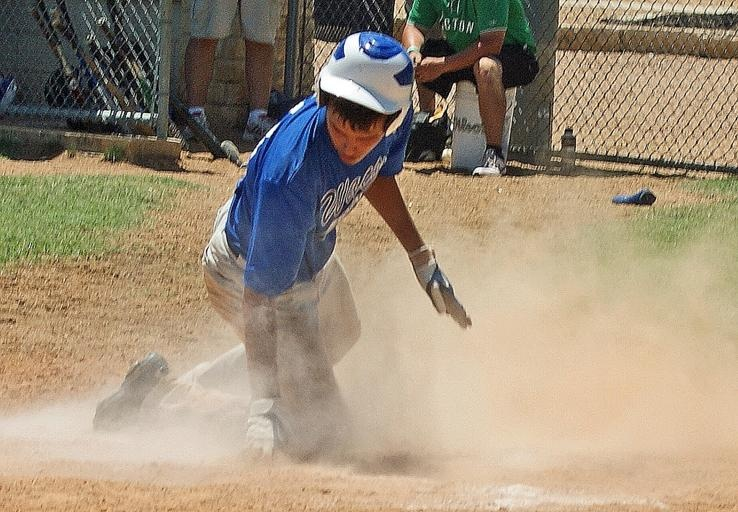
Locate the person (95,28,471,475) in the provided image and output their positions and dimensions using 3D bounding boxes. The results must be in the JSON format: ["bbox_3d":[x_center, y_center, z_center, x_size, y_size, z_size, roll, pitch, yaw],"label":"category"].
[{"bbox_3d":[-0.269,-0.074,7.026,1.291,2.447,0.614,2,14,-14],"label":"person"}]

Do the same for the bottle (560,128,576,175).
[{"bbox_3d":[1.708,-0.900,10.314,0.141,0.385,0.261,8,15,10],"label":"bottle"}]

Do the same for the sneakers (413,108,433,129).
[{"bbox_3d":[0.466,-1.165,10.276,0.123,0.142,0.239,1,0,3],"label":"sneakers"}]

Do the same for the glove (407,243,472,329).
[{"bbox_3d":[0.421,0.187,7.305,0.224,0.667,0.194,-29,1,10],"label":"glove"}]
